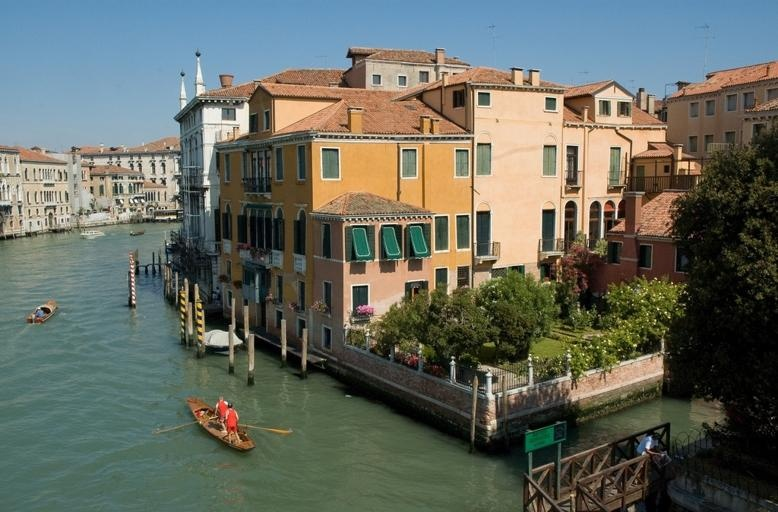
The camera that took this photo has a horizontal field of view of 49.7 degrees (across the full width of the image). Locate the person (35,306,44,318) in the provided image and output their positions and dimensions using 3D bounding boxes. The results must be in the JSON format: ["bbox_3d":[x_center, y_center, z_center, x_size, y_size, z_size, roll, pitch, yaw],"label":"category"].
[{"bbox_3d":[-32.702,5.301,78.676,0.670,0.626,1.430,-3,7,-23],"label":"person"}]

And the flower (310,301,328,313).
[{"bbox_3d":[-5.043,3.921,62.616,0.788,0.547,0.920,4,21,28],"label":"flower"}]

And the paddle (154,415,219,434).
[{"bbox_3d":[-13.503,11.397,56.527,3.383,0.475,0.404,-12,52,-44],"label":"paddle"}]

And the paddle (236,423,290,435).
[{"bbox_3d":[-8.268,11.493,55.625,2.514,0.300,0.425,9,22,-4],"label":"paddle"}]

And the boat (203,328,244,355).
[{"bbox_3d":[-13.834,7.008,68.548,2.006,1.071,2.834,-5,6,-35],"label":"boat"}]

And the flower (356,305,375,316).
[{"bbox_3d":[-1.604,3.961,60.438,0.808,0.611,0.824,-6,-4,39],"label":"flower"}]
